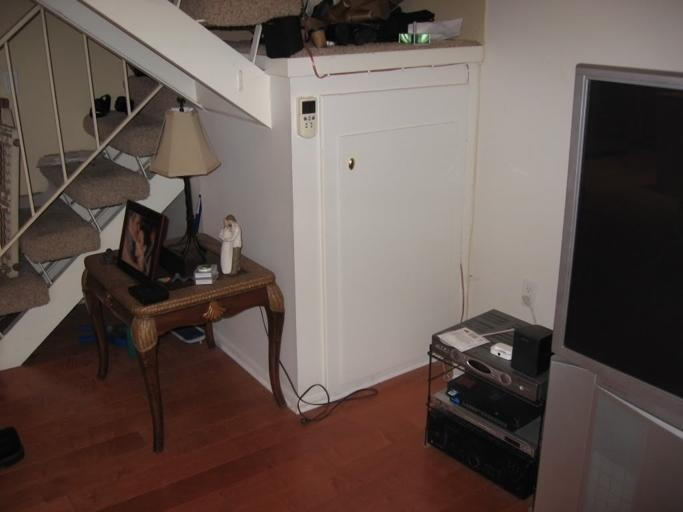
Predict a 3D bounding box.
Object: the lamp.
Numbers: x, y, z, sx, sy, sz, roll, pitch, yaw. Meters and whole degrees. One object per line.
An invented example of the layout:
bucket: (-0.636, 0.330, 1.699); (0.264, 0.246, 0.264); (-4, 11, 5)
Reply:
lamp: (-0.775, -0.371, 2.771); (0.365, 0.826, 0.387); (-13, 22, -36)

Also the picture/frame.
picture/frame: (-1.020, -0.059, 2.741); (0.035, 0.341, 0.349); (0, 21, -43)

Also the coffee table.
coffee table: (-0.824, 0.150, 2.891); (0.987, 0.900, 0.994); (-17, 33, -34)

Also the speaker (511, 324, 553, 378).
speaker: (0.822, 0.401, 2.285); (0.155, 0.177, 0.134); (-14, 23, -37)

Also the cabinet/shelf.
cabinet/shelf: (0.743, 0.736, 2.568); (0.536, 0.554, 0.409); (15, 17, 39)
